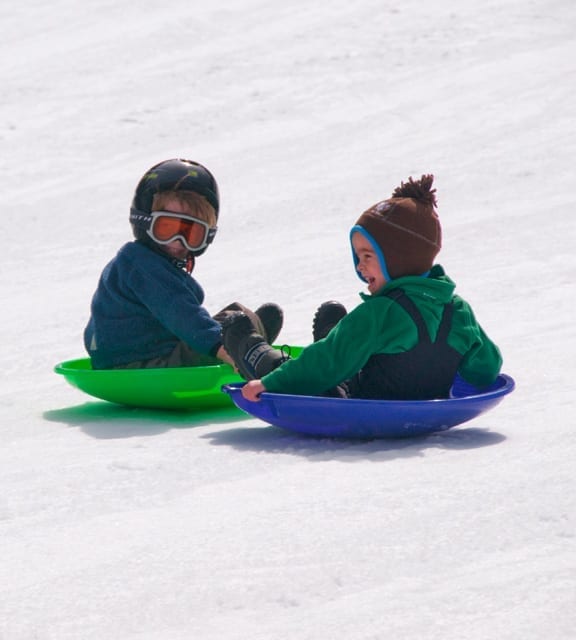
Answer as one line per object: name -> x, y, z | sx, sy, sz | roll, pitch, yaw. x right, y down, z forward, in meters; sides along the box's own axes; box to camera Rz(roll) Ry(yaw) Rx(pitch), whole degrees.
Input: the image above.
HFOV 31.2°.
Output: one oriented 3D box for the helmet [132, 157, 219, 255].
helmet -> -0.455, -0.441, 3.845 | 0.407, 0.338, 0.384 | 10, 21, -9
